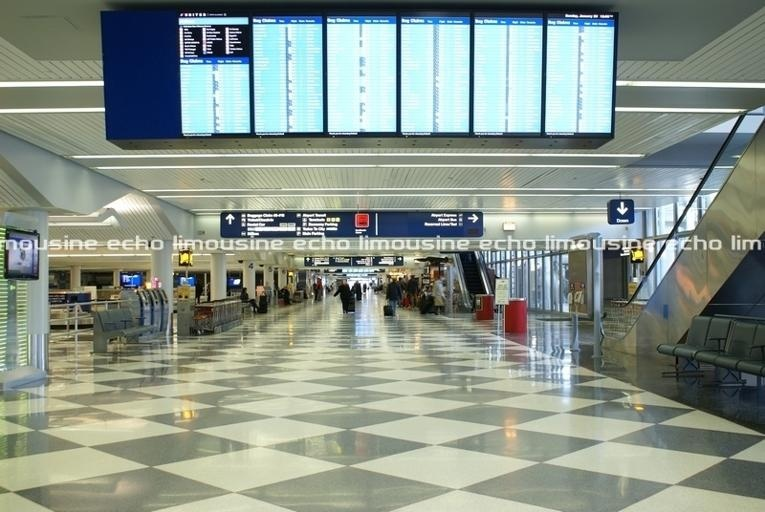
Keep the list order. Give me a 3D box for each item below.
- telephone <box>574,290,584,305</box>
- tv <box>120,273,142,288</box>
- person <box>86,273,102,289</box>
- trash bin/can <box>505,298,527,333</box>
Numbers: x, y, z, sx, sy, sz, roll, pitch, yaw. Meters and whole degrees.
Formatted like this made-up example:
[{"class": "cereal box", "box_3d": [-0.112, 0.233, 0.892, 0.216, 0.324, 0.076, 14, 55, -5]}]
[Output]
[{"class": "telephone", "box_3d": [3.935, 0.851, 11.683, 0.178, 0.272, 0.350, 5, -4, 5]}, {"class": "tv", "box_3d": [-15.586, 1.590, 36.165, 1.267, 0.624, 0.577, 1, 1, 7]}, {"class": "person", "box_3d": [-24.809, 2.068, 50.457, 1.082, 1.221, 0.835, -1, 1, -11]}, {"class": "trash bin/can", "box_3d": [3.444, 1.586, 15.142, 0.562, 0.854, 0.680, -1, 1, 8]}]
